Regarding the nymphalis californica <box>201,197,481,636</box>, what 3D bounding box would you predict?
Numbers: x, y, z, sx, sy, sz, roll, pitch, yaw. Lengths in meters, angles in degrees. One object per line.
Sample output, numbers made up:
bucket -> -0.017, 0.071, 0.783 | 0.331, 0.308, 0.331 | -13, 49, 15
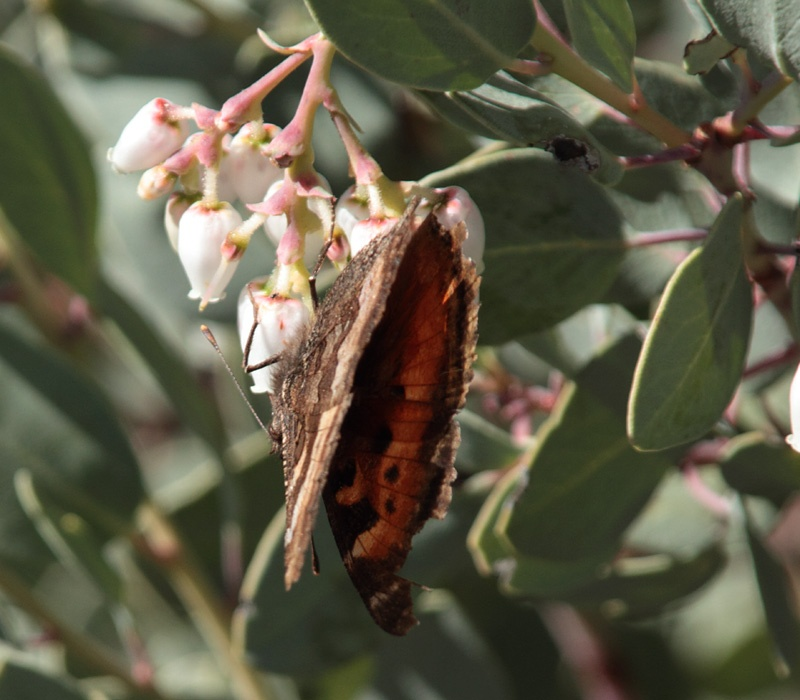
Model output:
nymphalis californica -> -0.038, 0.054, 1.333 | 0.301, 0.533, 0.585 | 12, 2, 8

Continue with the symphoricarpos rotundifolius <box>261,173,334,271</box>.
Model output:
symphoricarpos rotundifolius -> -0.119, -0.144, 1.208 | 0.081, 0.106, 0.032 | 3, 7, 26

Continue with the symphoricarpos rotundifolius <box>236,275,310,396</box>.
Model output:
symphoricarpos rotundifolius -> -0.147, -0.021, 1.224 | 0.065, 0.121, 0.052 | -20, 45, -30

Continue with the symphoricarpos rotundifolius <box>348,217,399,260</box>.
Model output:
symphoricarpos rotundifolius -> -0.036, -0.118, 1.134 | 0.073, 0.036, 0.040 | 5, 37, 37
